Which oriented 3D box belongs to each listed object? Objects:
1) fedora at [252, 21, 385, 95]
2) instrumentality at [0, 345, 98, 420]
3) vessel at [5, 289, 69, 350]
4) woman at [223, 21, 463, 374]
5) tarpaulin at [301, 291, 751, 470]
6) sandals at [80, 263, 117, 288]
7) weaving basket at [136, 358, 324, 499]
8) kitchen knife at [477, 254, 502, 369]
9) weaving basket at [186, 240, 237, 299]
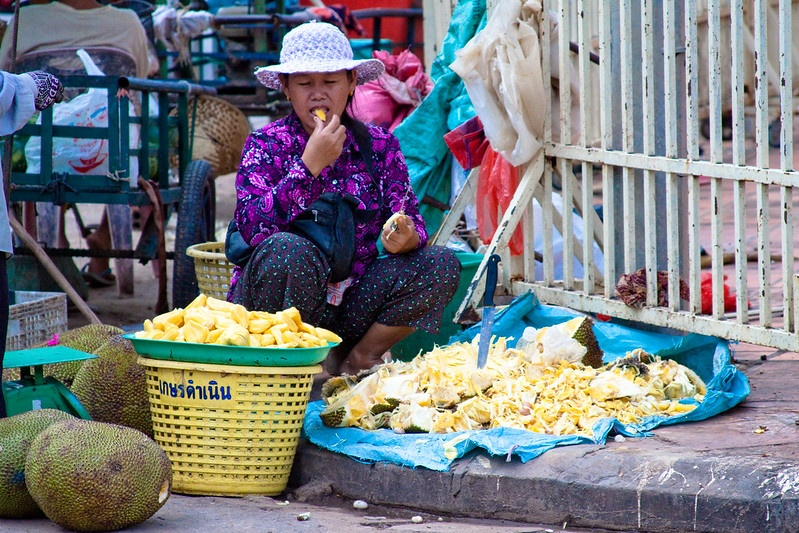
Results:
[{"bbox_3d":[-0.501,-1.053,7.738,0.475,0.229,0.464,-13,-1,23],"label":"fedora"},{"bbox_3d":[-1.826,0.620,7.381,0.414,0.341,0.345,0,0,-37],"label":"instrumentality"},{"bbox_3d":[-2.054,0.312,8.200,0.303,0.207,0.311,0,-4,-27],"label":"vessel"},{"bbox_3d":[-0.430,-0.253,7.874,1.241,2.053,1.265,-4,4,-37],"label":"woman"},{"bbox_3d":[0.971,0.400,7.730,1.606,0.356,1.968,14,11,-10],"label":"tarpaulin"},{"bbox_3d":[-2.304,0.069,11.208,0.120,0.158,0.372,3,4,26],"label":"sandals"},{"bbox_3d":[-0.904,0.801,7.358,0.696,0.557,0.746,1,-6,7],"label":"weaving basket"},{"bbox_3d":[0.454,0.238,7.638,0.092,0.708,0.033,8,16,0],"label":"kitchen knife"},{"bbox_3d":[-1.133,0.029,8.773,0.336,0.287,0.359,0,9,-3],"label":"weaving basket"}]
